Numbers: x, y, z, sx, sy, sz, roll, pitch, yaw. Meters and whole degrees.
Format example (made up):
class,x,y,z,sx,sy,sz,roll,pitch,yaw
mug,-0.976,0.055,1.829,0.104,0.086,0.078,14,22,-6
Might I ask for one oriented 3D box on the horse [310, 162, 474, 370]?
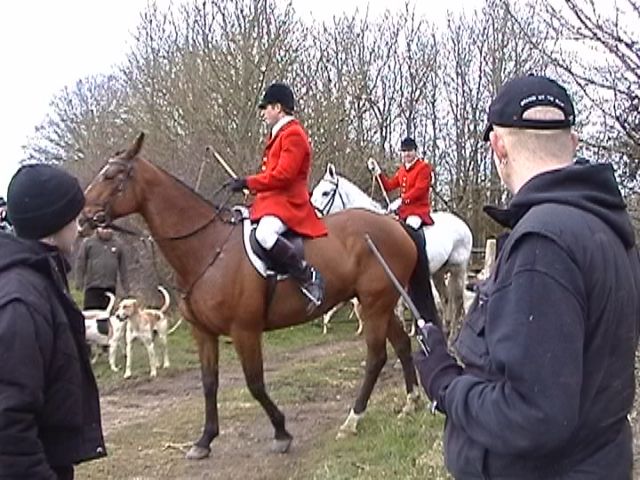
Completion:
class,x,y,z,sx,sy,sz,roll,pitch,yaw
horse,1.338,0.502,10.441,3.511,3.081,0.957,9,-20,-31

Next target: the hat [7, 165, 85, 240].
class,x,y,z,sx,sy,sz,roll,pitch,yaw
hat,-1.503,-0.200,3.518,0.301,0.328,0.254,-30,-39,1

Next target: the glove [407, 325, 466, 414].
class,x,y,z,sx,sy,sz,roll,pitch,yaw
glove,0.514,0.566,3.106,0.151,0.217,0.514,10,29,-19

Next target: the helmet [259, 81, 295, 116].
class,x,y,z,sx,sy,sz,roll,pitch,yaw
helmet,-0.461,-1.535,6.982,0.338,0.239,0.279,9,12,8

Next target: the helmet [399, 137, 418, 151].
class,x,y,z,sx,sy,sz,roll,pitch,yaw
helmet,1.476,-1.585,10.682,0.173,0.227,0.265,-5,-6,5

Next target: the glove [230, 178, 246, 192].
class,x,y,z,sx,sy,sz,roll,pitch,yaw
glove,-0.830,-0.567,6.592,0.172,0.129,0.150,-4,-1,-11
